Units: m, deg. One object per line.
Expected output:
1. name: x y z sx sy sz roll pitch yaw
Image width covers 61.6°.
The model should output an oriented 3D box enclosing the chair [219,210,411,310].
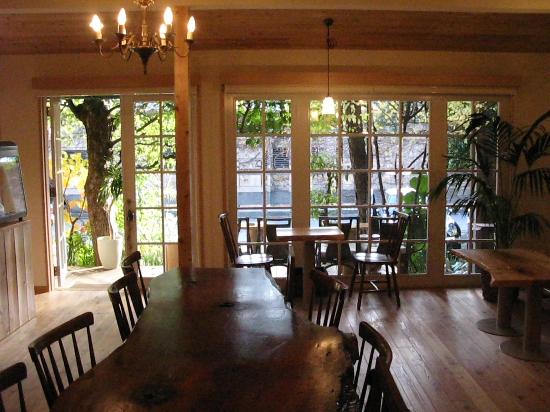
1. chair: 0.428 0.544 5.590 2.286 1.180 0.948 -1 7 -1

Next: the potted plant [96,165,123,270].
1. potted plant: -2.688 0.187 7.459 0.478 1.664 0.951 -5 15 -19
